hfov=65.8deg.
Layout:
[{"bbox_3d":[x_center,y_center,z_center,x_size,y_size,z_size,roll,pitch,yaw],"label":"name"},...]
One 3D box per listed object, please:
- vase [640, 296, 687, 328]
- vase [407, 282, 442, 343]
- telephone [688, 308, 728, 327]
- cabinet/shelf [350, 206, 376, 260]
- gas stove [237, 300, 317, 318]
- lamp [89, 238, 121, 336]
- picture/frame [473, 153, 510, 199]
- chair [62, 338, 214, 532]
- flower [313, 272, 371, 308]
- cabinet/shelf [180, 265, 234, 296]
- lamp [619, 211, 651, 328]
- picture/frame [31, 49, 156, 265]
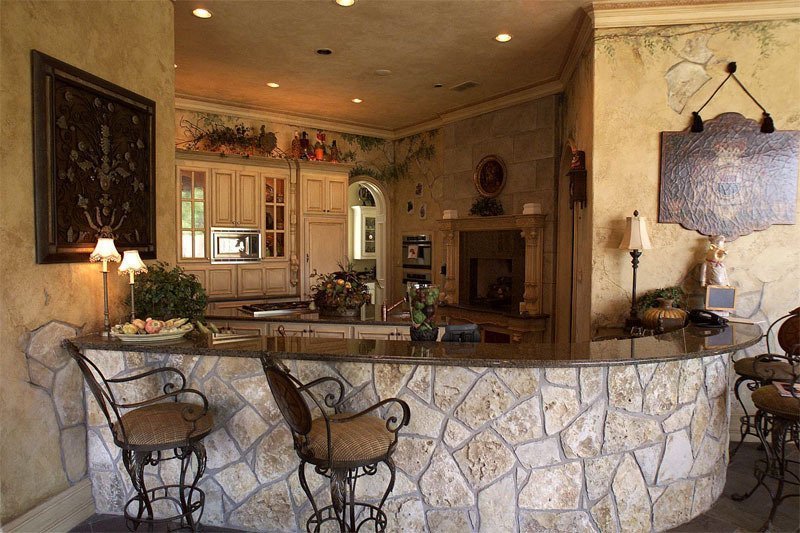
[{"bbox_3d":[2.484,0.439,5.858,0.340,0.191,0.332,-1,-1,-13],"label":"vase"},{"bbox_3d":[0.204,0.384,5.056,0.238,0.466,0.455,-2,3,1],"label":"vase"},{"bbox_3d":[2.771,0.490,5.598,0.296,0.145,0.143,8,-20,44],"label":"telephone"},{"bbox_3d":[-0.683,-0.656,11.949,0.473,1.022,0.370,-2,4,0],"label":"cabinet/shelf"},{"bbox_3d":[-1.416,0.507,7.433,0.825,0.109,0.783,-3,2,-25],"label":"gas stove"},{"bbox_3d":[-2.422,0.148,5.143,0.222,0.795,0.447,-4,4,-26],"label":"lamp"},{"bbox_3d":[1.353,-1.311,8.947,0.078,0.683,0.690,-4,6,-33],"label":"picture/frame"},{"bbox_3d":[-1.873,1.323,4.646,0.975,1.490,0.629,-1,4,17],"label":"chair"},{"bbox_3d":[-0.684,0.298,7.175,0.490,0.264,0.480,1,2,-6],"label":"flower"},{"bbox_3d":[-2.625,0.209,8.658,0.647,0.497,0.185,-3,4,-18],"label":"cabinet/shelf"},{"bbox_3d":[2.363,0.024,6.184,0.272,1.192,0.345,0,4,22],"label":"lamp"},{"bbox_3d":[-2.494,-0.853,5.140,0.121,1.616,1.103,0,4,26],"label":"picture/frame"}]
